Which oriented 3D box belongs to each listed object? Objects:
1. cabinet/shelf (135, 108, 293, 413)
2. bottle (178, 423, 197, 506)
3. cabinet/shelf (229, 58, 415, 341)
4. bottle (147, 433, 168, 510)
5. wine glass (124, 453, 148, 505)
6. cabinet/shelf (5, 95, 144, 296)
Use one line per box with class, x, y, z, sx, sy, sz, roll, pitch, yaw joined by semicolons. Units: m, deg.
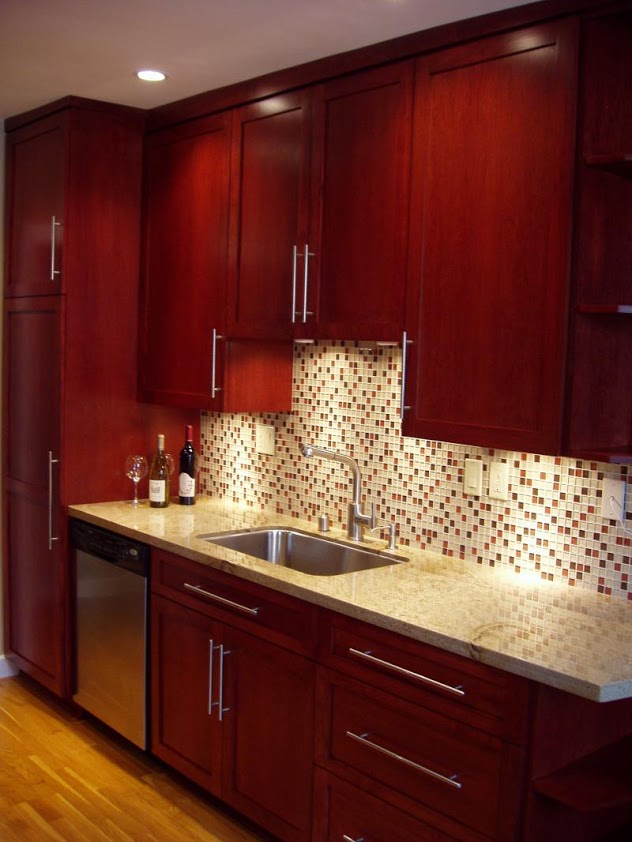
cabinet/shelf;-0.420;-0.574;2.818;0.562;1.141;0.284;10;10;43
bottle;-0.550;0.178;3.052;0.065;0.322;0.277;-1;3;-9
cabinet/shelf;0.034;-0.627;2.268;0.699;0.805;0.272;5;4;35
bottle;-0.638;0.203;2.900;0.073;0.287;0.124;-1;3;-8
wine glass;-0.737;0.240;2.941;0.086;0.204;0.253;-1;4;-14
cabinet/shelf;-1.090;-0.925;3.028;0.759;0.816;0.306;2;4;33
